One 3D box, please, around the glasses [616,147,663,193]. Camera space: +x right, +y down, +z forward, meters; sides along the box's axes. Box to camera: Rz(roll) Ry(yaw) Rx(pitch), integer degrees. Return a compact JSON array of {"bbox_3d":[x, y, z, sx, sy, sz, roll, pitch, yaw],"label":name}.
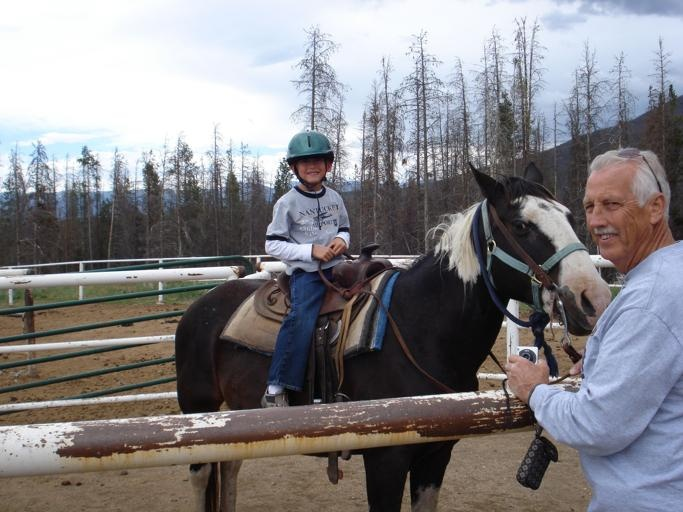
[{"bbox_3d":[1.582,-0.475,4.060,0.181,0.263,0.075,2,8,35],"label":"glasses"}]
